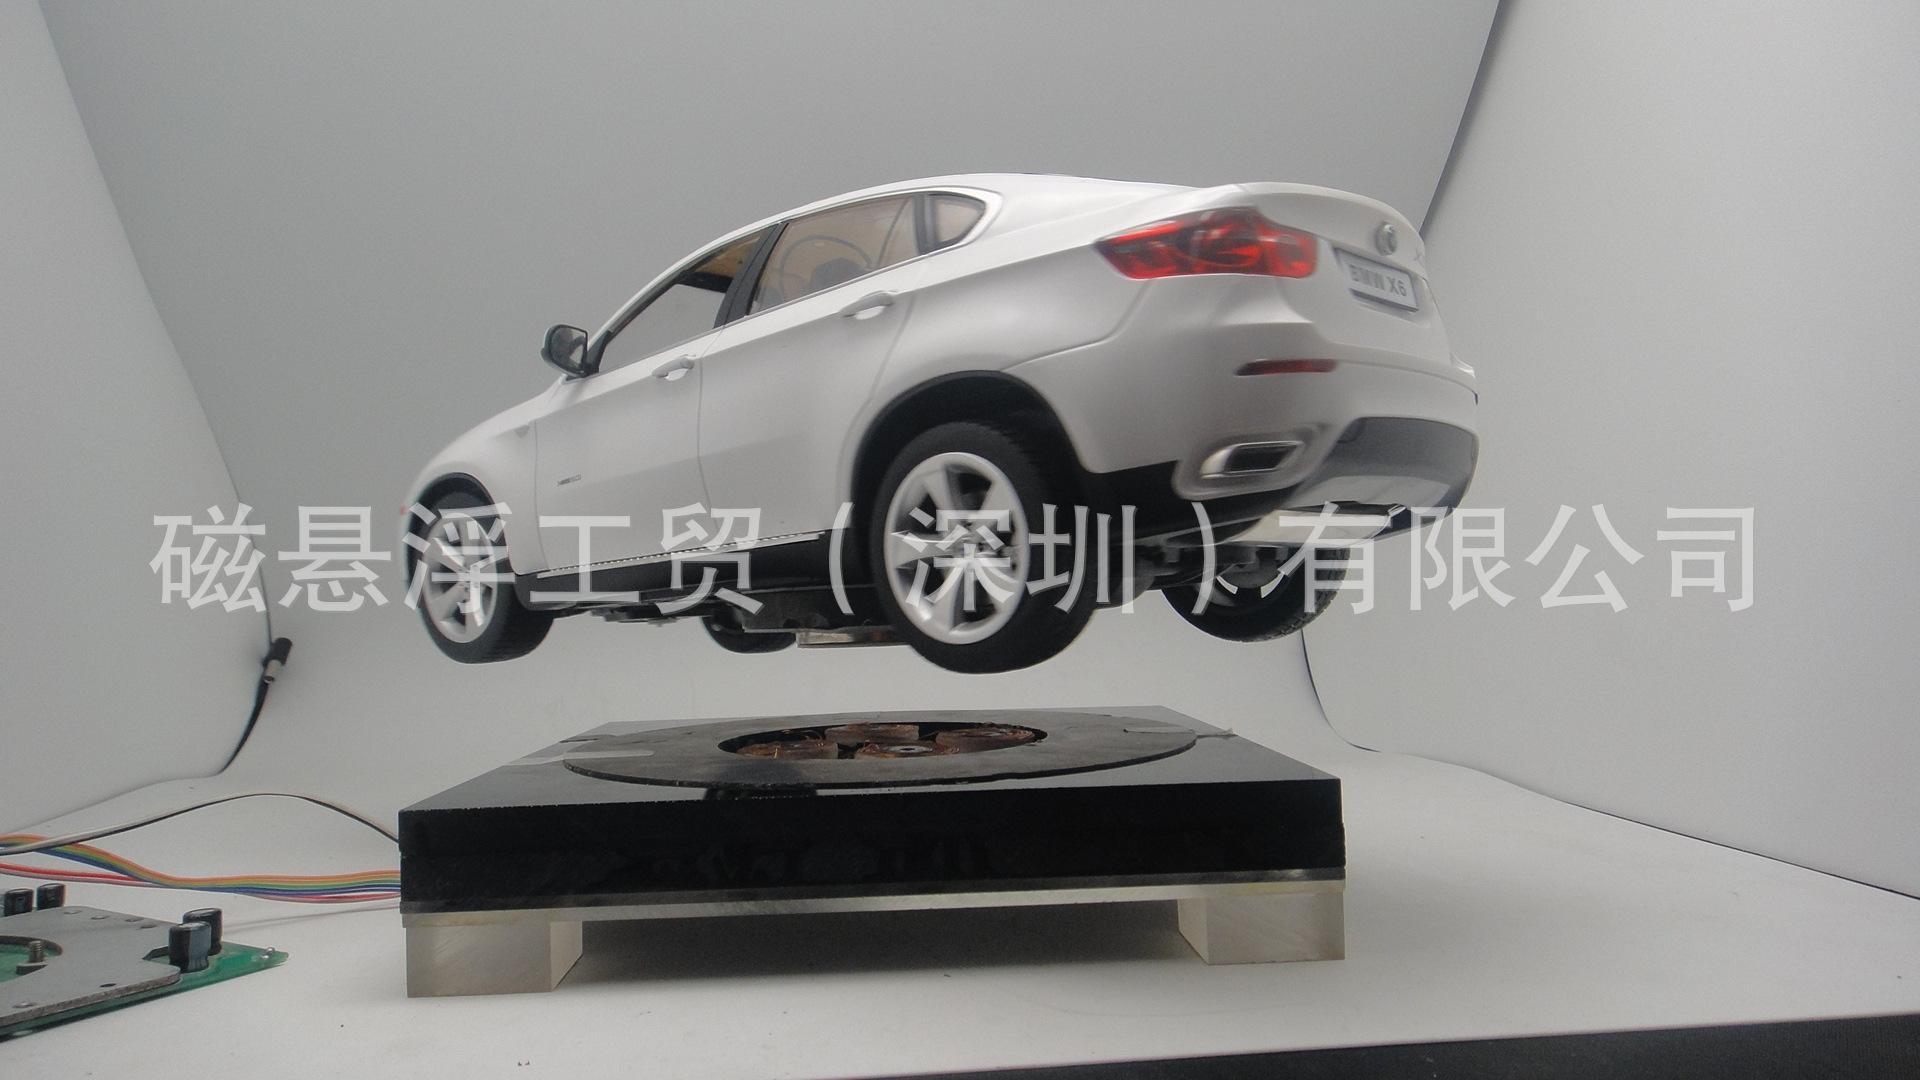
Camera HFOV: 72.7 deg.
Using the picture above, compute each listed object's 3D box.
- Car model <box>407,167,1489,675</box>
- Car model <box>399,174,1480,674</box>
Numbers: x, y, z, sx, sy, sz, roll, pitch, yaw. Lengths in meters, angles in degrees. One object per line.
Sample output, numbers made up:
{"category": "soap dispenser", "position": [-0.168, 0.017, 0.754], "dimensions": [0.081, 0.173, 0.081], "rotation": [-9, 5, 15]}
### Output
{"category": "Car model", "position": [-0.302, -0.394, 5.463], "dimensions": [3.907, 1.290, 1.846], "rotation": [-3, -4, 37]}
{"category": "Car model", "position": [-0.219, -0.358, 5.567], "dimensions": [3.822, 1.263, 1.869], "rotation": [-4, -4, 37]}
